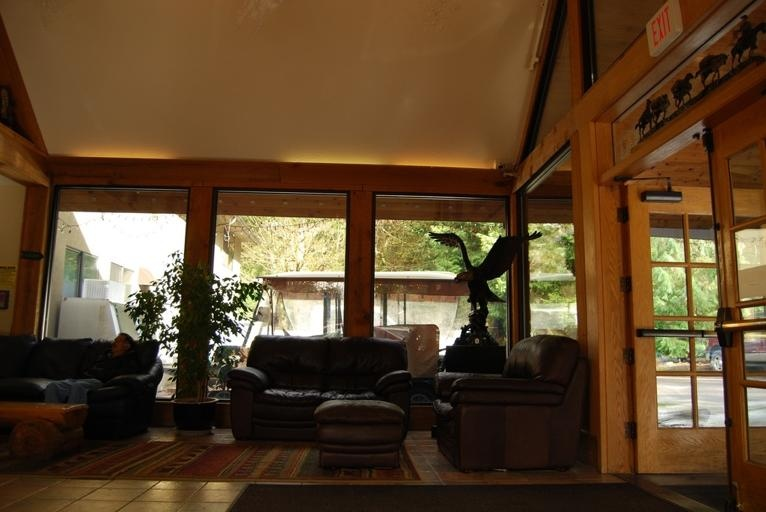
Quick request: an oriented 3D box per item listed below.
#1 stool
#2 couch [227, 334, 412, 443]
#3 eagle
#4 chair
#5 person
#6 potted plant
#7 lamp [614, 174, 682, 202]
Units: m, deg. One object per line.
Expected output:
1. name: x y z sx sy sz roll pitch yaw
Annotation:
1. stool: -0.127 1.719 5.603 0.882 0.548 1.008 10 -1 -5
2. couch: -0.696 1.523 6.660 2.038 1.076 1.030 2 -4 -3
3. eagle: 1.148 0.191 6.768 1.576 0.944 0.919 1 0 42
4. chair: 1.257 1.372 5.468 1.382 1.223 0.703 1 -2 -4
5. person: -3.329 1.282 6.515 0.657 0.679 0.955 0 -2 32
6. potted plant: -2.211 0.929 7.119 1.360 2.257 1.203 -1 -5 24
7. lamp: 2.597 -0.652 5.491 0.897 0.265 0.157 1 -2 -27
